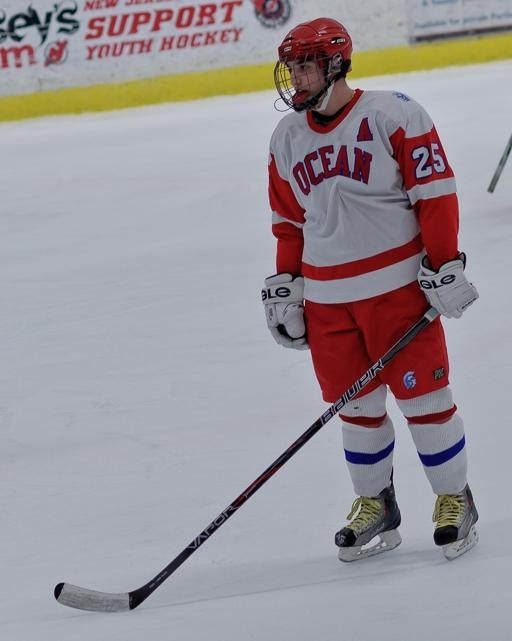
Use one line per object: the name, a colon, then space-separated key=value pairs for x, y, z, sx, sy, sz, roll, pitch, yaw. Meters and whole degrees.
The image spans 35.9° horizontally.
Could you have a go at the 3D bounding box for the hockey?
hockey: x=-0.019 y=0.385 z=2.072 sx=1.025 sy=0.118 sz=0.147 roll=-36 pitch=-23 yaw=0

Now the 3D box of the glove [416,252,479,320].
glove: x=0.401 y=-0.072 z=1.676 sx=0.116 sy=0.134 sz=0.084 roll=-8 pitch=9 yaw=22
